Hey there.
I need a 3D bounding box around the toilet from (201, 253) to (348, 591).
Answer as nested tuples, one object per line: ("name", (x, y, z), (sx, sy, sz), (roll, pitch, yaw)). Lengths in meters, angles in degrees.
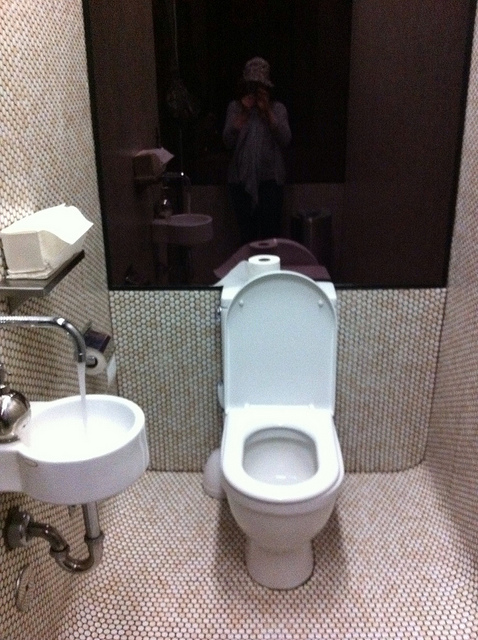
("toilet", (0.080, 0.288, 1.470), (0.268, 0.805, 0.546), (-2, 21, -13))
